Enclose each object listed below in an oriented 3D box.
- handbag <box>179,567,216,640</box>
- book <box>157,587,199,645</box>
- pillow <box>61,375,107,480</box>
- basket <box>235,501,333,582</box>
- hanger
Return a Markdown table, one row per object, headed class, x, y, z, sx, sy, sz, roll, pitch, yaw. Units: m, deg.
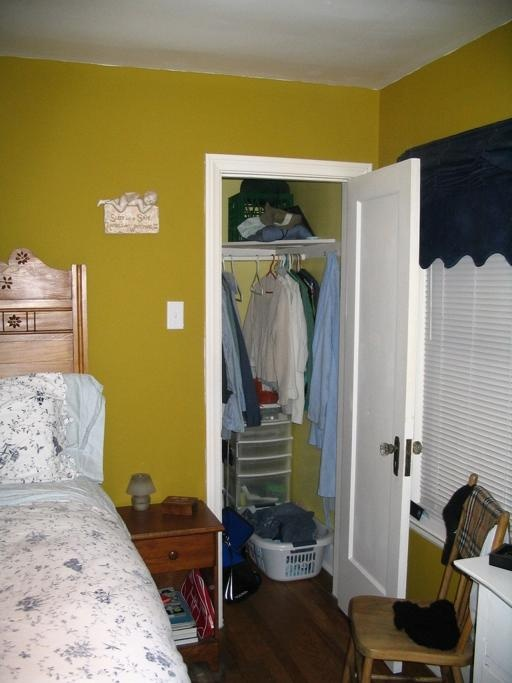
| class | x | y | z | sx | sy | sz | roll | pitch | yaw |
| --- | --- | --- | --- | --- | --- | --- | --- | --- | --- |
| handbag | -0.238 | 1.098 | 2.325 | 0.064 | 0.219 | 0.162 | -9 | -30 | -21 |
| book | -0.313 | 1.130 | 2.318 | 0.196 | 0.054 | 0.211 | 7 | -2 | 4 |
| pillow | -0.665 | 0.352 | 2.287 | 0.099 | 0.380 | 0.266 | -2 | -4 | 5 |
| basket | 0.160 | 1.101 | 3.149 | 0.284 | 0.182 | 0.433 | -1 | 6 | -15 |
| hanger | 0.042 | -0.449 | 3.710 | 0.506 | 0.338 | 0.849 | -1 | 0 | -3 |
